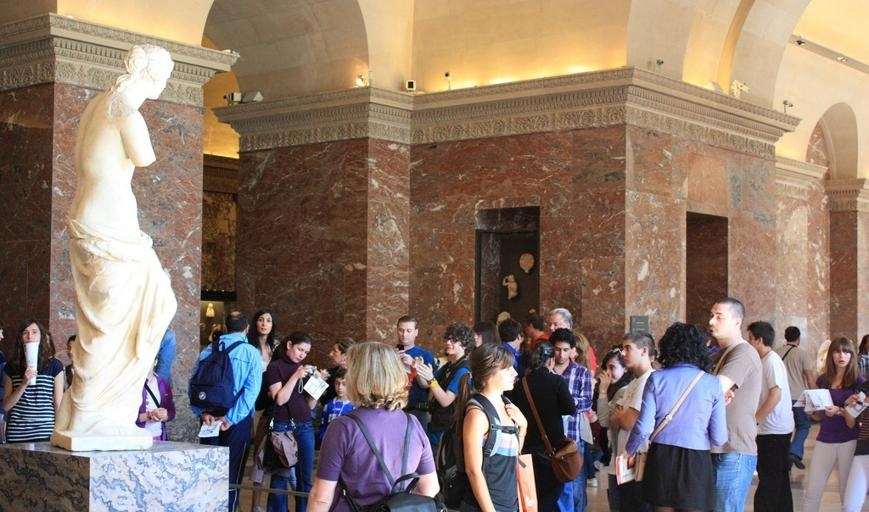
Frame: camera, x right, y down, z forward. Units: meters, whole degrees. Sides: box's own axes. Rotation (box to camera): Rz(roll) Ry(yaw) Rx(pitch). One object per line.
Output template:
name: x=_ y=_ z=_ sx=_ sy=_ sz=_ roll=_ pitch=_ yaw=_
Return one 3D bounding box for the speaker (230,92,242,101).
speaker: x=-3.661 y=-2.901 z=16.096 sx=0.180 sy=0.126 sz=0.171 roll=-1 pitch=1 yaw=-43

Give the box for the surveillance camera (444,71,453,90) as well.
surveillance camera: x=0.236 y=-3.080 z=15.507 sx=0.129 sy=0.323 sz=0.103 roll=4 pitch=-10 yaw=-13

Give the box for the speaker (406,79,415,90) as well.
speaker: x=-0.427 y=-2.999 z=15.479 sx=0.141 sy=0.200 sz=0.154 roll=3 pitch=-10 yaw=-8

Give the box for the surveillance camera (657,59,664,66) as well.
surveillance camera: x=3.743 y=-3.196 z=14.608 sx=0.100 sy=0.050 sz=0.137 roll=6 pitch=2 yaw=18

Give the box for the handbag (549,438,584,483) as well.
handbag: x=1.401 y=2.216 z=9.491 sx=0.312 sy=0.451 sz=0.208 roll=-8 pitch=-14 yaw=44

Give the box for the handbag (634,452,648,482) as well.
handbag: x=2.109 y=2.143 z=8.981 sx=0.137 sy=0.291 sz=0.279 roll=8 pitch=9 yaw=7

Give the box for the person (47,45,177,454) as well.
person: x=-3.215 y=-0.117 z=8.974 sx=1.027 sy=4.122 sz=0.708 roll=5 pitch=-11 yaw=-20

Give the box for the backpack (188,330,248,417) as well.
backpack: x=-2.587 y=1.444 z=10.396 sx=0.580 sy=0.898 sz=0.253 roll=-2 pitch=-11 yaw=20

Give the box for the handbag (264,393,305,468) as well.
handbag: x=-1.879 y=2.228 z=10.690 sx=0.420 sy=0.806 sz=0.268 roll=3 pitch=-10 yaw=-10

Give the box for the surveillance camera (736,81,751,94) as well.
surveillance camera: x=5.638 y=-3.086 z=16.086 sx=0.083 sy=0.192 sz=0.580 roll=-5 pitch=-12 yaw=34

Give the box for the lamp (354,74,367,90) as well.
lamp: x=-1.265 y=-2.967 z=15.098 sx=0.204 sy=0.306 sz=0.319 roll=4 pitch=-10 yaw=-11

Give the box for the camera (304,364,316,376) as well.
camera: x=-1.500 y=1.374 z=10.607 sx=0.135 sy=0.118 sz=0.131 roll=0 pitch=0 yaw=-26
